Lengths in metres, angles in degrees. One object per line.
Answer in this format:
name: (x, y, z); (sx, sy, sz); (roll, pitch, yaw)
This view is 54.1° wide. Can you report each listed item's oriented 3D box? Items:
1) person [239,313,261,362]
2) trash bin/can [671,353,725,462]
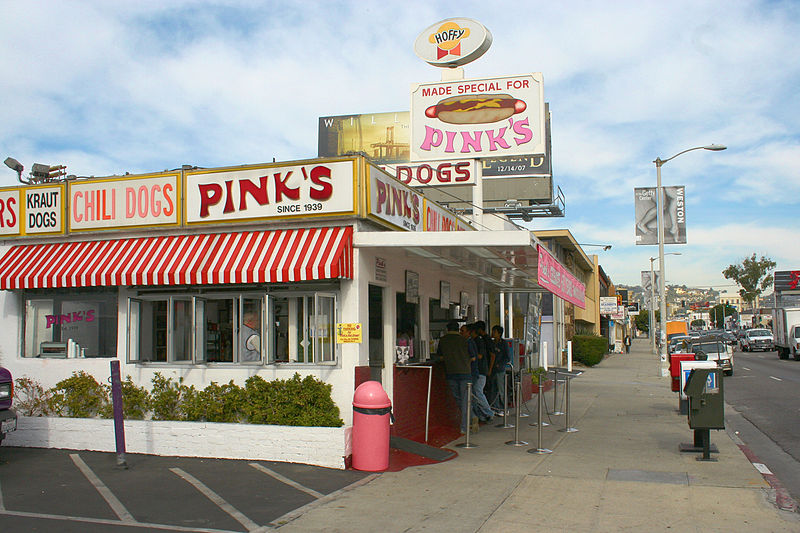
person: (-3.199, 1.492, 16.676); (0.442, 1.022, 0.130); (-4, -6, 6)
trash bin/can: (6.764, 3.256, 17.819); (0.996, 2.149, 1.906); (1, -6, 13)
